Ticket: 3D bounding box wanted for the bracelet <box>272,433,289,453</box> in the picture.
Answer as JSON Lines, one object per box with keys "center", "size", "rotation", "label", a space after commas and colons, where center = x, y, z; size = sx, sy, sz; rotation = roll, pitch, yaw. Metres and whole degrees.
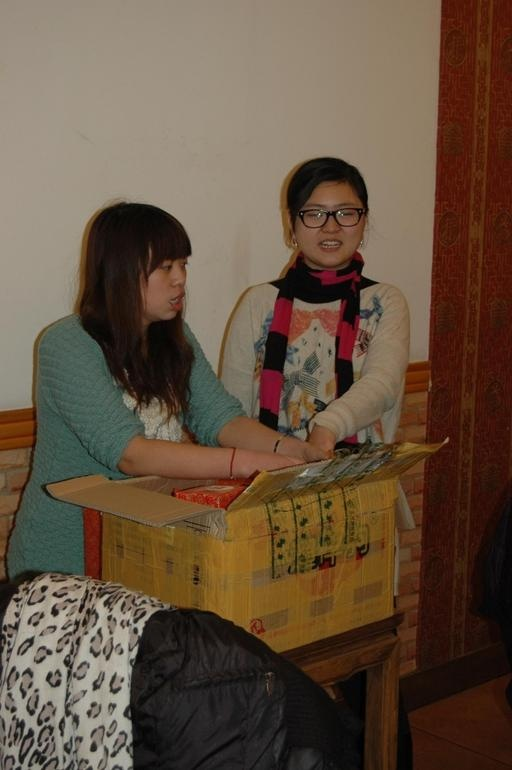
{"center": [0.047, 0.115, 1.292], "size": [0.009, 0.030, 0.032], "rotation": [21, -4, -11], "label": "bracelet"}
